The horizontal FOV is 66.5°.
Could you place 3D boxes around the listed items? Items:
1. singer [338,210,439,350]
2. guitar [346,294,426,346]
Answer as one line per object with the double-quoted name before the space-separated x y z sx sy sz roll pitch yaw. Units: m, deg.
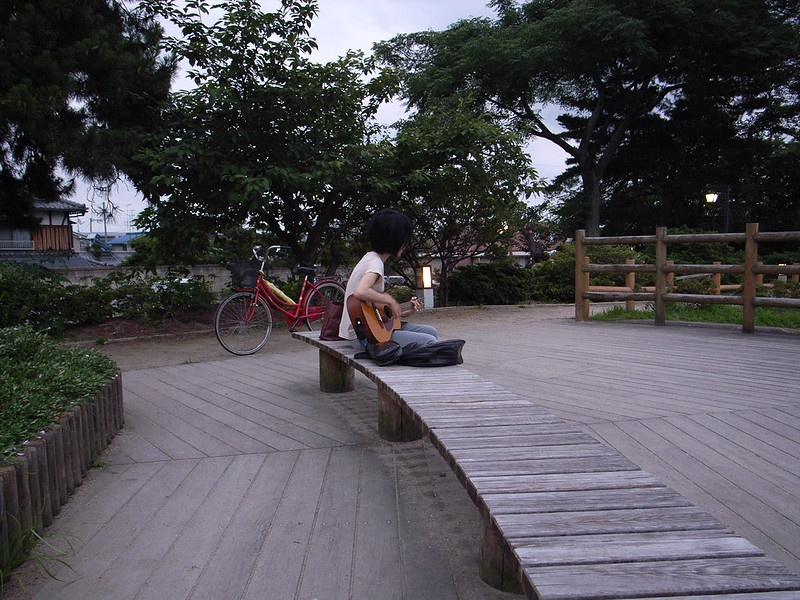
"singer" -0.239 -0.206 4.842 0.937 1.241 0.840 -3 13 -19
"guitar" -0.204 0.150 4.461 0.348 0.384 0.265 -3 11 1
